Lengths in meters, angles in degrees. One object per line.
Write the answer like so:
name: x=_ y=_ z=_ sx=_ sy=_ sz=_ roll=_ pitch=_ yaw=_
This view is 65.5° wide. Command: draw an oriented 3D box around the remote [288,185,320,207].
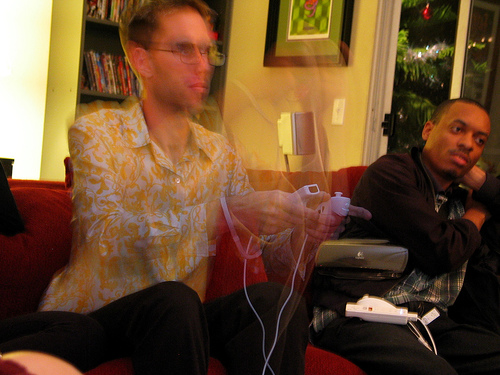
remote: x=0.066 y=0.008 z=0.466 sx=0.021 sy=0.010 sz=0.028 roll=-9 pitch=-27 yaw=-44

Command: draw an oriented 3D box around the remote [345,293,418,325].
remote: x=0.367 y=0.348 z=1.106 sx=0.202 sy=0.096 sz=0.057 roll=8 pitch=2 yaw=10

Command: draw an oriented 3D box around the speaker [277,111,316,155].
speaker: x=0.048 y=-0.060 z=0.422 sx=0.033 sy=0.048 sz=0.041 roll=-16 pitch=20 yaw=-34
